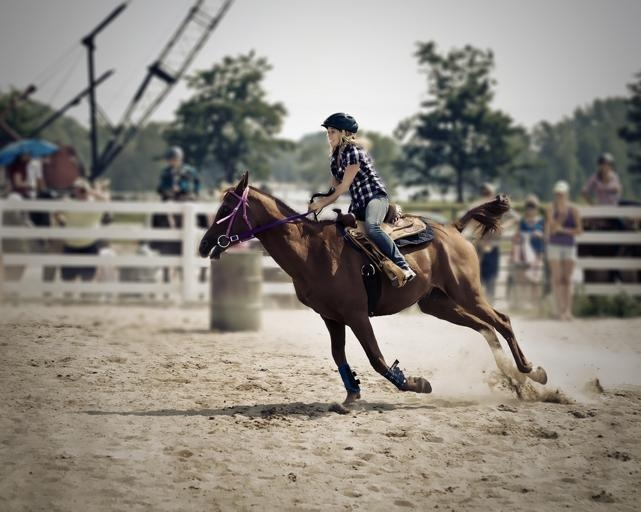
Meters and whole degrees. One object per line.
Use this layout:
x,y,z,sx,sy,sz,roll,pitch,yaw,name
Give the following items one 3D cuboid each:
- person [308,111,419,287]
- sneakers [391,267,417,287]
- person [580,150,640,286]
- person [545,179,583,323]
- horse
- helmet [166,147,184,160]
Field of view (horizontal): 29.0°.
0.492,-0.680,14.784,1.142,1.997,0.583,2,-4,-4,person
0.970,0.266,14.664,0.135,0.189,0.380,-10,2,12,sneakers
4.274,-0.552,18.287,0.867,1.865,1.343,1,-4,17,person
3.646,-0.255,18.585,0.496,1.676,1.105,1,-4,11,person
0.727,0.445,15.186,4.090,2.765,1.018,-2,-5,-16,horse
-2.541,-1.783,21.675,0.222,0.283,0.288,-1,9,-5,helmet
